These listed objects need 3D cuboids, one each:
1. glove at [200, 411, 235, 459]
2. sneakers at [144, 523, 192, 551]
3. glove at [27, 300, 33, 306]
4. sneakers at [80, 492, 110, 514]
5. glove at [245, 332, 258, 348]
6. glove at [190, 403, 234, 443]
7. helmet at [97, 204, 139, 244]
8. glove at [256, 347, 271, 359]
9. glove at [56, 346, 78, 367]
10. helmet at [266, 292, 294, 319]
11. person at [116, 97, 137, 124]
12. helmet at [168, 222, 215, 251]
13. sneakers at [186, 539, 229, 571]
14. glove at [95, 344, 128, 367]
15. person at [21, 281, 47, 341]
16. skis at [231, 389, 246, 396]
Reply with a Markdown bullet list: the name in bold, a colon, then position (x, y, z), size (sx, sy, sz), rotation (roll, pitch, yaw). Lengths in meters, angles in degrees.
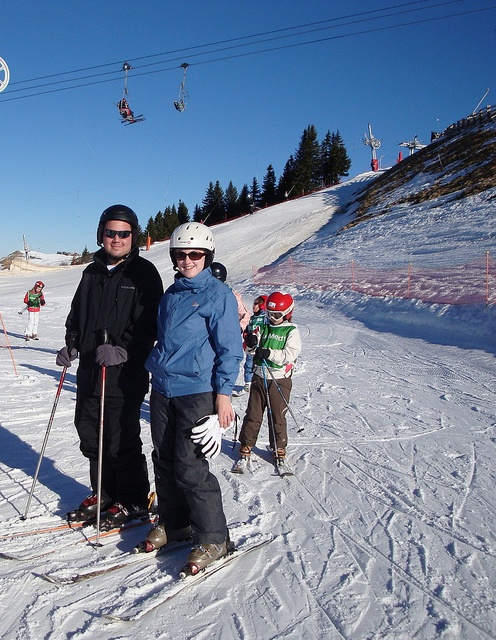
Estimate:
- **glove**: position (-0.186, 0.637, 2.726), size (0.167, 0.213, 0.058), rotation (21, 8, 12)
- **sneakers**: position (-0.486, 1.287, 2.926), size (0.312, 0.137, 0.103), rotation (4, -10, -30)
- **glove**: position (-5.197, -0.402, 11.656), size (0.202, 0.175, 0.098), rotation (5, 9, 30)
- **sneakers**: position (-1.029, 1.230, 3.288), size (0.211, 0.128, 0.122), rotation (12, -12, -5)
- **glove**: position (0.028, 0.187, 4.329), size (0.106, 0.109, 0.204), rotation (1, 7, 3)
- **glove**: position (-0.181, 0.558, 2.655), size (0.170, 0.254, 0.069), rotation (24, -7, -3)
- **helmet**: position (-0.810, -0.633, 3.297), size (0.289, 0.266, 0.251), rotation (-12, 16, -5)
- **glove**: position (0.133, 0.293, 4.301), size (0.081, 0.095, 0.104), rotation (1, 27, -13)
- **glove**: position (-1.237, 0.242, 3.345), size (0.123, 0.158, 0.067), rotation (39, -14, -20)
- **helmet**: position (0.287, -0.146, 4.555), size (0.257, 0.237, 0.211), rotation (-5, 17, -36)
- **person**: position (-4.189, -7.201, 16.907), size (0.526, 0.976, 0.899), rotation (-2, 8, -18)
- **helmet**: position (-0.318, -0.475, 2.910), size (0.169, 0.177, 0.223), rotation (0, -18, 8)
- **sneakers**: position (-0.238, 1.315, 2.739), size (0.241, 0.108, 0.099), rotation (1, -19, -37)
- **glove**: position (-0.825, 0.219, 2.989), size (0.182, 0.132, 0.087), rotation (-2, 8, -16)
- **person**: position (-5.416, -0.304, 12.453), size (0.491, 1.372, 2.292), rotation (-3, 8, -24)
- **skis**: position (-0.138, 1.056, 7.038), size (0.073, 0.076, 0.198), rotation (-6, -10, 25)
